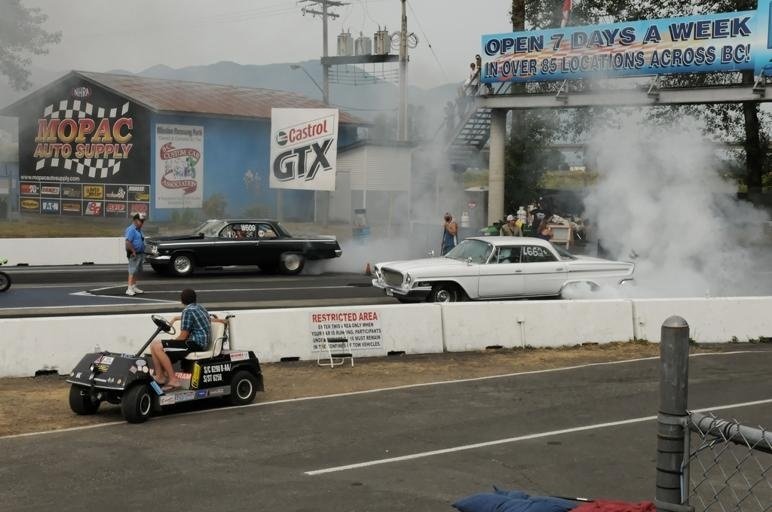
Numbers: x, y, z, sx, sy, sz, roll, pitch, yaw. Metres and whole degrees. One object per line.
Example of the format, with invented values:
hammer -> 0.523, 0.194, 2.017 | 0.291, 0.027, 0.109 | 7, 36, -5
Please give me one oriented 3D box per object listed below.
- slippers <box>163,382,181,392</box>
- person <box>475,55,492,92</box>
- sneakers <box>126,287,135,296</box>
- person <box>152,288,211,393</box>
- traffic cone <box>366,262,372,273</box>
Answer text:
slippers -> -4.001, 2.464, 15.994 | 0.322, 0.088, 0.126 | 2, 4, -32
person -> 4.040, -7.400, 35.457 | 0.656, 1.523, 1.515 | 1, 11, 5
sneakers -> -7.269, 1.047, 24.370 | 0.223, 0.193, 0.177 | -1, 2, 44
person -> -3.865, 1.572, 16.218 | 1.204, 1.727, 0.539 | -10, 14, -40
traffic cone -> -0.624, 0.481, 30.209 | 0.265, 0.337, 0.284 | -2, 6, 4
